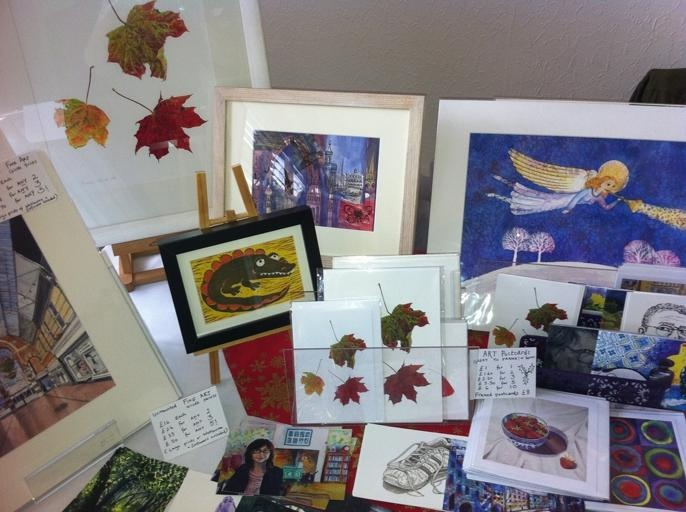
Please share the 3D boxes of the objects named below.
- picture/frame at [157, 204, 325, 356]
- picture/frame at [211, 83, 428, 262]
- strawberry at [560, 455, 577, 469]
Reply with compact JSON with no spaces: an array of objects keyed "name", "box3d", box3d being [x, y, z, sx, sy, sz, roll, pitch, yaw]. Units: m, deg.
[{"name":"picture/frame","box3d":[-0.270,0.072,1.315,0.416,0.351,0.046,-17,16,-12]},{"name":"picture/frame","box3d":[-0.082,-0.260,1.444,0.555,0.479,0.038,5,17,9]},{"name":"strawberry","box3d":[0.554,0.508,1.133,0.038,0.013,0.034,-12,23,-25]}]
